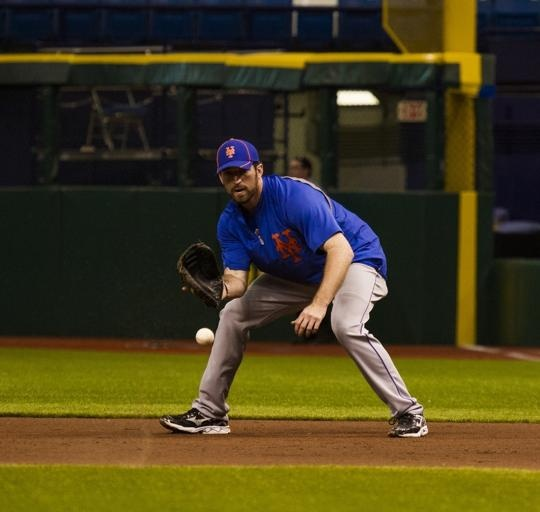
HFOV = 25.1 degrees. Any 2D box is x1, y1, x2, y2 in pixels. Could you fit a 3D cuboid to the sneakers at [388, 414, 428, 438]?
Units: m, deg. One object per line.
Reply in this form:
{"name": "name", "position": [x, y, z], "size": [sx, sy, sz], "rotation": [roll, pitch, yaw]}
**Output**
{"name": "sneakers", "position": [0.836, 1.012, 7.211], "size": [0.113, 0.115, 0.234], "rotation": [-9, -15, 41]}

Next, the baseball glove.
{"name": "baseball glove", "position": [-0.441, 0.158, 7.256], "size": [0.118, 0.369, 0.282], "rotation": [-31, 1, 40]}

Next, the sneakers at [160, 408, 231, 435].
{"name": "sneakers", "position": [-0.445, 1.007, 7.359], "size": [0.414, 0.215, 0.160], "rotation": [6, -6, -8]}

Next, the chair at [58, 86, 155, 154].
{"name": "chair", "position": [-1.556, -1.308, 11.647], "size": [0.692, 0.943, 0.659], "rotation": [4, 4, 20]}

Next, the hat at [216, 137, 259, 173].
{"name": "hat", "position": [-0.174, -0.570, 7.027], "size": [0.237, 0.197, 0.233], "rotation": [3, 4, -1]}
